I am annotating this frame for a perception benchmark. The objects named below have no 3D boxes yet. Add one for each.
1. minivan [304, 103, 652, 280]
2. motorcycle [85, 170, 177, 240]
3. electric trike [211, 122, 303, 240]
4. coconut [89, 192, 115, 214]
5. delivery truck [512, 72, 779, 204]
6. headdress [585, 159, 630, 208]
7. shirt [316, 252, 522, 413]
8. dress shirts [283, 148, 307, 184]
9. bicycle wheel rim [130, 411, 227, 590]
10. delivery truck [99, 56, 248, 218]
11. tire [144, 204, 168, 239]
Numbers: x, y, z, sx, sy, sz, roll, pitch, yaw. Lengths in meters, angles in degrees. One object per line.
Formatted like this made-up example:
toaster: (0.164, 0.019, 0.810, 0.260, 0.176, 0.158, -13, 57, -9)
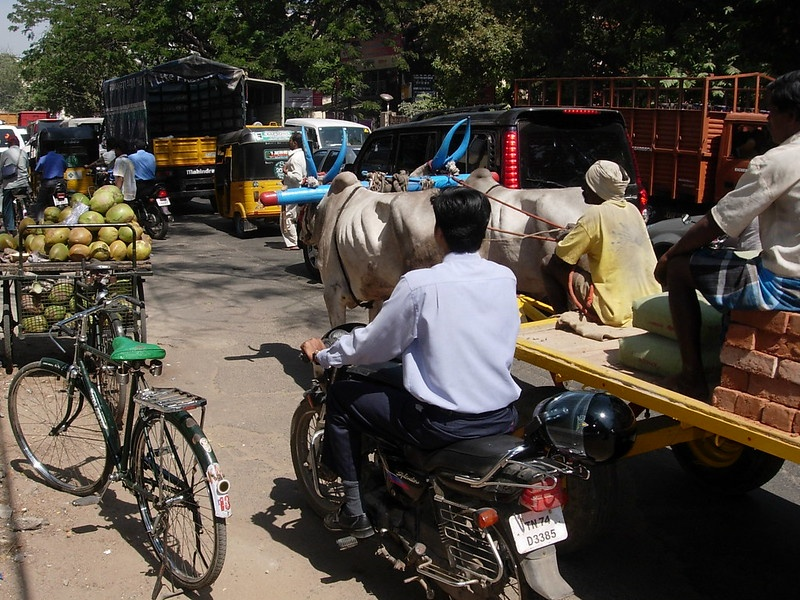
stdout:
minivan: (0.886, -1.488, 8.387, 1.972, 1.451, 3.151, -9, 17, -34)
motorcycle: (-5.877, -2.095, 14.995, 2.435, 1.487, 1.098, -2, 5, 44)
electric trike: (-3.267, -2.752, 15.366, 2.095, 2.215, 2.948, -7, 15, -25)
coconut: (-3.051, -0.987, 6.691, 0.275, 0.202, 0.202, -8, 1, 22)
delivery truck: (4.616, -2.348, 12.108, 2.129, 2.164, 3.939, 14, 2, -33)
headdress: (1.457, -0.823, 4.656, 0.251, 0.246, 0.324, -10, 32, -24)
shirt: (0.121, 0.057, 3.225, 0.808, 0.510, 0.754, -8, 20, -23)
dress shirts: (-1.980, -2.471, 12.308, 0.394, 0.739, 0.574, -2, 8, -10)
bicycle wheel rim: (-1.211, 1.110, 3.582, 0.343, 1.027, 0.866, -5, 9, -29)
delivery truck: (-6.502, -4.612, 18.946, 3.109, 3.581, 6.184, -2, 15, -30)
tire: (-5.330, -1.681, 14.364, 0.449, 0.516, 0.864, -13, 31, -36)
